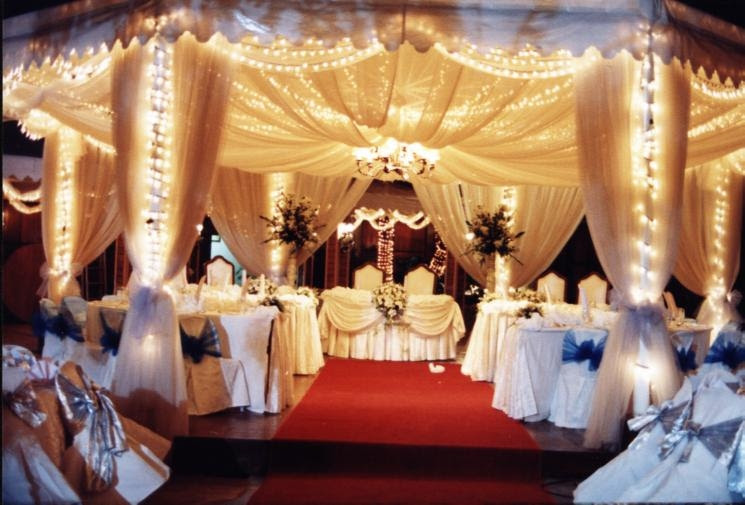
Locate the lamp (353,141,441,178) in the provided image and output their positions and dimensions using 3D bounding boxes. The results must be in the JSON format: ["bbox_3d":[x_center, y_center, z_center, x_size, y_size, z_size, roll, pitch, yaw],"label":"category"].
[{"bbox_3d":[0.299,-1.194,8.271,1.102,0.437,0.926,1,0,4],"label":"lamp"}]

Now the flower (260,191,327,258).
[{"bbox_3d":[-1.166,-0.490,9.513,0.809,0.927,0.826,-8,18,-36],"label":"flower"}]

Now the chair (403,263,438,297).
[{"bbox_3d":[0.731,0.426,9.667,0.371,0.757,0.426,6,-6,7],"label":"chair"}]

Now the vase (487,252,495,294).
[{"bbox_3d":[1.655,0.290,8.974,0.105,0.496,0.254,1,0,11],"label":"vase"}]

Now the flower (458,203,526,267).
[{"bbox_3d":[1.731,-0.266,9.057,0.697,0.748,0.821,0,5,0],"label":"flower"}]

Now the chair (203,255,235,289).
[{"bbox_3d":[-2.053,0.270,8.600,0.317,0.611,0.324,3,-9,-21],"label":"chair"}]
